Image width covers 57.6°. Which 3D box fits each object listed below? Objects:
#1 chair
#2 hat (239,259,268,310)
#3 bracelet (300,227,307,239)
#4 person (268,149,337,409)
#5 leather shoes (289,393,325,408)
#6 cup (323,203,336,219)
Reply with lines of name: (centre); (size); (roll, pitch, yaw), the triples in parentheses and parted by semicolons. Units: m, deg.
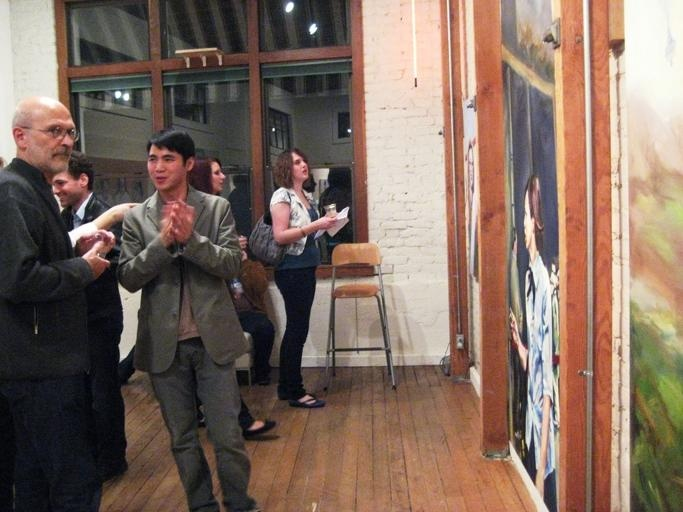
chair: (0.162, 0.484, 5.458); (0.649, 1.143, 0.668); (1, 9, 21)
hat: (-0.787, 0.273, 5.602); (0.281, 0.418, 0.135); (-2, -1, -32)
bracelet: (-0.268, -0.155, 4.438); (0.056, 0.061, 0.051); (-20, -25, 14)
person: (-0.296, 0.186, 4.667); (0.430, 1.952, 0.437); (-3, 6, -7)
leather shoes: (-0.252, 1.118, 4.760); (0.208, 0.078, 0.122); (0, 3, 6)
cup: (-0.081, -0.325, 4.568); (0.093, 0.093, 0.109); (0, -2, -12)
